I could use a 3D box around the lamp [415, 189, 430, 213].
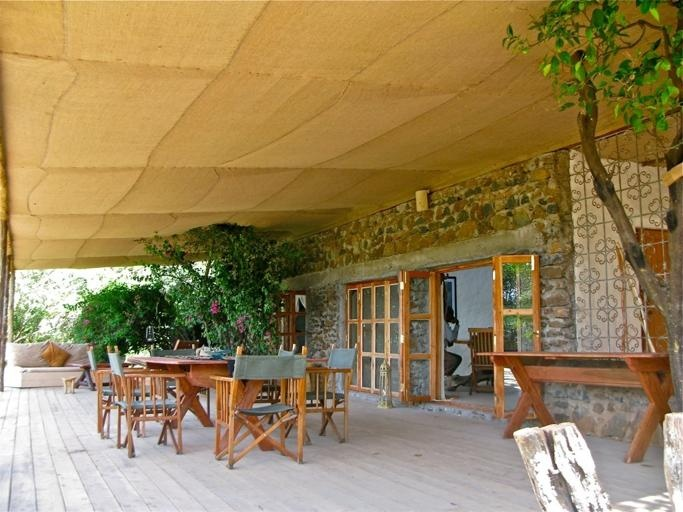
[{"bbox_3d":[1.344,-0.911,8.310,0.109,0.372,0.328,2,-7,-23],"label":"lamp"}]

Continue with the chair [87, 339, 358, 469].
[{"bbox_3d":[-1.284,1.563,5.614,2.242,1.139,2.522,5,-9,-36],"label":"chair"}]

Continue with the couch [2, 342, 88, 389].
[{"bbox_3d":[-7.170,2.556,11.807,1.990,0.999,1.323,1,-7,-9],"label":"couch"}]

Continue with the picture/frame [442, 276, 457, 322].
[{"bbox_3d":[2.439,0.995,11.261,0.048,1.251,0.957,-4,-8,30],"label":"picture/frame"}]

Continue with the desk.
[{"bbox_3d":[2.626,1.521,5.349,1.094,0.895,1.934,7,-12,-30],"label":"desk"}]
